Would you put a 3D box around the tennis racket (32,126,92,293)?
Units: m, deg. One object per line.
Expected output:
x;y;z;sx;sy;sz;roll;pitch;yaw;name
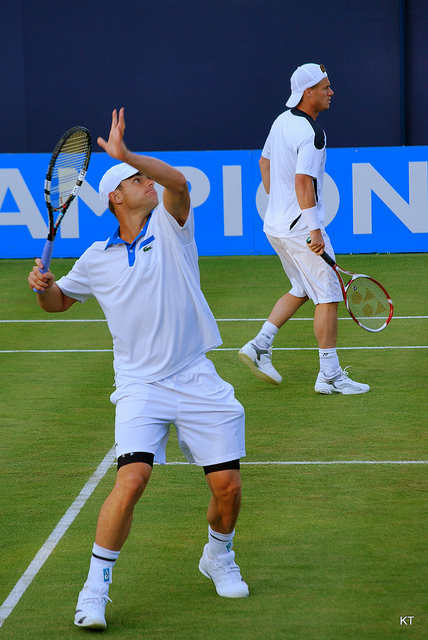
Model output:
-0.774;-0.563;4.352;0.264;1.091;0.086;-35;70;-33;tennis racket

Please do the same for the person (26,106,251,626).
-0.255;0.119;3.082;0.645;1.660;0.810;-6;12;-21;person

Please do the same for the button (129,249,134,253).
-0.297;-0.250;3.111;0.017;0.010;0.011;2;12;17;button

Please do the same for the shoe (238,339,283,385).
0.320;0.298;6.054;0.279;0.379;0.256;-2;11;2;shoe

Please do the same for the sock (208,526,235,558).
0.016;0.775;3.026;0.100;0.128;0.085;-1;1;-7;sock

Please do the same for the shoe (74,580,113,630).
-0.376;0.898;2.718;0.074;0.082;0.180;9;-7;-9;shoe

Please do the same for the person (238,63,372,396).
0.630;-0.589;5.860;0.820;2.223;0.664;6;13;36;person

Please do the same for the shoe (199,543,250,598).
0.039;0.862;3.094;0.089;0.110;0.241;-1;23;-42;shoe

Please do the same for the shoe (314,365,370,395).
0.852;0.397;5.897;0.415;0.254;0.154;2;3;-3;shoe

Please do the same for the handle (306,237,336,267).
0.724;-0.402;5.629;0.063;0.348;0.082;-17;39;31;handle

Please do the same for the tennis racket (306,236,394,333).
0.982;-0.188;5.853;0.421;0.641;0.482;0;11;12;tennis racket
